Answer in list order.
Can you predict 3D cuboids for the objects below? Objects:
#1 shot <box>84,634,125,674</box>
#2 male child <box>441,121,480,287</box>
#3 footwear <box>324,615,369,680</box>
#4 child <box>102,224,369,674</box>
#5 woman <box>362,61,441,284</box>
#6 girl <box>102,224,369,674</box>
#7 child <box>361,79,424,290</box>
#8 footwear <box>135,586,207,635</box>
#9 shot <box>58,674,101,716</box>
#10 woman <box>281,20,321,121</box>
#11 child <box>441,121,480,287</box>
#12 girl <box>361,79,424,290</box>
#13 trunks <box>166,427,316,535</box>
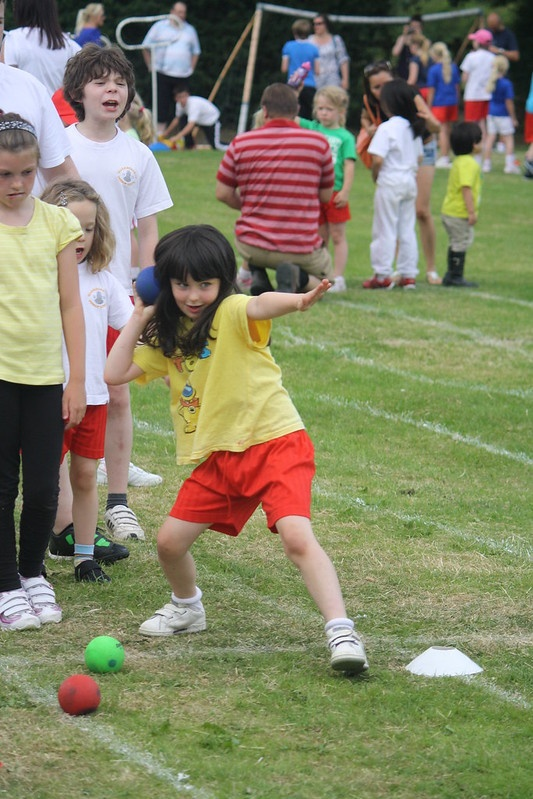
[{"bbox_3d":[-0.449,0.727,2.997,0.121,0.100,0.090,-3,12,-22],"label":"shot"},{"bbox_3d":[1.655,-1.677,9.047,0.317,1.413,0.620,4,12,8],"label":"male child"},{"bbox_3d":[0.206,0.677,2.850,0.079,0.086,0.212,-14,-9,0],"label":"footwear"},{"bbox_3d":[-0.010,0.147,3.099,0.750,1.292,0.318,10,15,34],"label":"child"},{"bbox_3d":[1.224,-1.750,8.685,0.674,1.665,0.584,6,-3,16],"label":"woman"},{"bbox_3d":[-0.011,0.147,3.101,0.747,1.292,0.317,10,15,34],"label":"girl"},{"bbox_3d":[1.053,-1.758,8.716,0.419,1.702,0.408,3,13,8],"label":"child"},{"bbox_3d":[-0.253,0.688,3.373,0.276,0.136,0.095,2,1,-31],"label":"footwear"},{"bbox_3d":[-0.481,0.769,2.723,0.066,0.059,0.073,35,-40,-13],"label":"shot"},{"bbox_3d":[0.414,-4.530,15.001,0.647,1.641,0.531,-2,16,-15],"label":"woman"},{"bbox_3d":[1.655,-1.677,9.047,0.317,1.413,0.620,4,12,8],"label":"child"},{"bbox_3d":[1.053,-1.758,8.716,0.419,1.702,0.408,3,13,8],"label":"girl"},{"bbox_3d":[-0.041,0.252,3.188,0.507,0.299,0.198,-7,-17,39],"label":"trunks"}]
